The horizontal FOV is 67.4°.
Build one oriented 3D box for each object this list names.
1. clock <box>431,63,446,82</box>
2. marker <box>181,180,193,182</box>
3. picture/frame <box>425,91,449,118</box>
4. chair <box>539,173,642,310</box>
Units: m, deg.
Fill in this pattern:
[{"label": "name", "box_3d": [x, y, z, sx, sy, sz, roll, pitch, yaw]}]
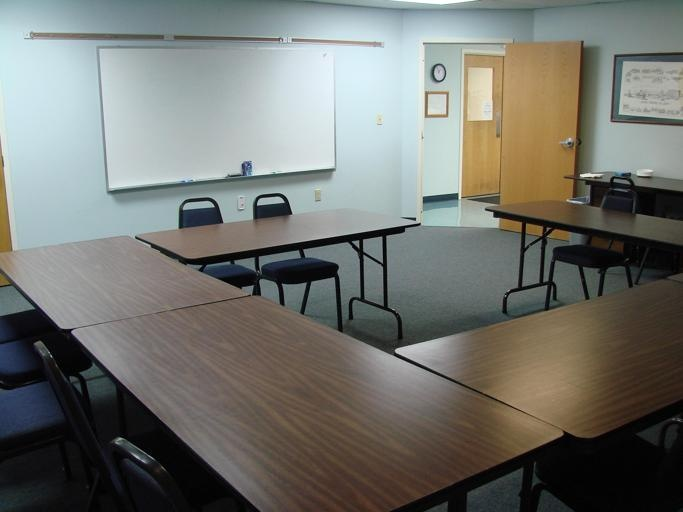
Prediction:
[{"label": "clock", "box_3d": [1.774, -3.278, 9.210, 0.341, 0.330, 0.094, -14, 20, -33]}, {"label": "marker", "box_3d": [-1.799, -0.877, 6.039, 0.105, 0.035, 0.037, -9, 18, -21]}, {"label": "picture/frame", "box_3d": [1.718, -2.749, 9.259, 0.496, 0.415, 0.034, -7, 11, -32]}, {"label": "chair", "box_3d": [2.258, -0.106, 4.631, 0.628, 1.223, 0.587, -6, 13, -14]}]
